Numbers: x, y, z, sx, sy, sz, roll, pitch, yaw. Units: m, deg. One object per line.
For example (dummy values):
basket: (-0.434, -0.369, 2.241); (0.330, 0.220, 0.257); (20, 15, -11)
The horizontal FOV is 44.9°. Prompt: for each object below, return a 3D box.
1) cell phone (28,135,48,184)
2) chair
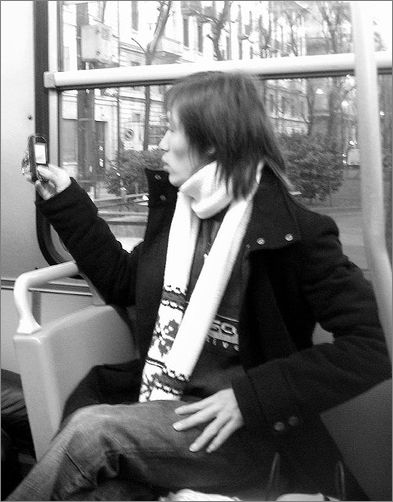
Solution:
cell phone: (-0.465, -0.273, 1.397); (0.019, 0.140, 0.081); (-1, 10, 15)
chair: (-0.234, 0.328, 1.646); (0.634, 0.928, 0.509); (-16, -4, 40)
